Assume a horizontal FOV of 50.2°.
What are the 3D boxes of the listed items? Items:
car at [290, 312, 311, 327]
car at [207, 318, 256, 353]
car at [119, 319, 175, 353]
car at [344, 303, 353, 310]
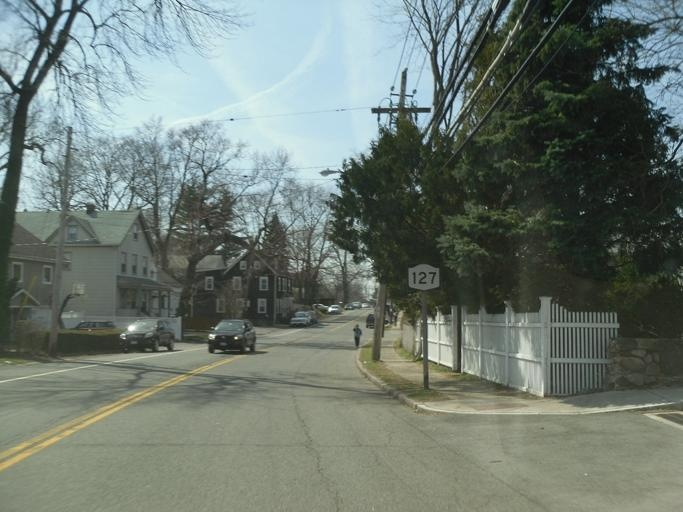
[{"bbox_3d":[-4.177,6.627,75.052,2.046,1.324,3.049,0,-2,-6],"label":"car"},{"bbox_3d":[-5.221,3.920,34.951,1.568,1.542,2.522,0,-1,9],"label":"car"},{"bbox_3d":[-9.502,3.961,36.146,1.879,1.535,2.826,0,-2,13],"label":"car"},{"bbox_3d":[1.174,9.897,140.915,0.979,0.852,2.366,-1,-10,2],"label":"car"}]
